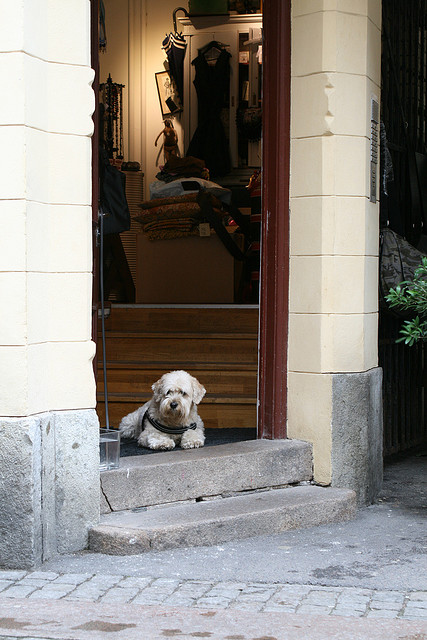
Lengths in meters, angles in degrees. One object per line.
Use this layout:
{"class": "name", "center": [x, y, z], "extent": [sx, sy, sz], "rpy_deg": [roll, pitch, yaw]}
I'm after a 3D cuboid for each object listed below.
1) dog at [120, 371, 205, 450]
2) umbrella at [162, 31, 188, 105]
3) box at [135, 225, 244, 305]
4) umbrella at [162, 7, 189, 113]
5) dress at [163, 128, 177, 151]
{"class": "dog", "center": [-0.303, 0.614, 6.876], "extent": [0.491, 0.553, 0.685], "rpy_deg": [1, 11, -1]}
{"class": "umbrella", "center": [-0.460, -3.172, 13.182], "extent": [0.256, 0.865, 0.331], "rpy_deg": [-1, 11, -9]}
{"class": "box", "center": [-0.277, -0.467, 10.622], "extent": [0.845, 0.647, 0.868], "rpy_deg": [-1, -4, 4]}
{"class": "umbrella", "center": [-0.474, -3.255, 13.105], "extent": [0.277, 1.278, 0.604], "rpy_deg": [0, 11, -5]}
{"class": "dress", "center": [-0.526, -2.246, 13.060], "extent": [0.160, 0.265, 0.370], "rpy_deg": [1, 11, -3]}
